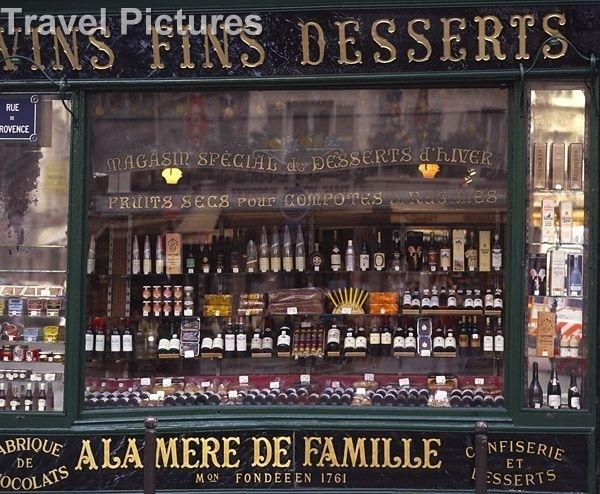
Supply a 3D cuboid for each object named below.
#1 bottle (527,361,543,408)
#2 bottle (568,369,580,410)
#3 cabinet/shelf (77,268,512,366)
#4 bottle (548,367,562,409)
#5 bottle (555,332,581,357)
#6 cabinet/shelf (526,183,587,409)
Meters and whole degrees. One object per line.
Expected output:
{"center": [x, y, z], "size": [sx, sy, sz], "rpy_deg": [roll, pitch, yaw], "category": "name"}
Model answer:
{"center": [2.290, 1.325, 15.053], "size": [0.139, 0.435, 0.077], "rpy_deg": [-2, -4, 6], "category": "bottle"}
{"center": [2.663, 1.373, 15.036], "size": [0.112, 0.360, 0.069], "rpy_deg": [-2, -4, 10], "category": "bottle"}
{"center": [-0.025, 0.649, 15.998], "size": [4.323, 1.135, 0.696], "rpy_deg": [0, 20, -7], "category": "cabinet/shelf"}
{"center": [2.468, 1.356, 15.047], "size": [0.129, 0.372, 0.075], "rpy_deg": [-2, -4, 9], "category": "bottle"}
{"center": [2.613, 0.948, 15.091], "size": [0.245, 0.279, 0.150], "rpy_deg": [-1, -2, 10], "category": "bottle"}
{"center": [2.467, 0.568, 15.196], "size": [0.560, 2.460, 0.220], "rpy_deg": [1, -17, 7], "category": "cabinet/shelf"}
